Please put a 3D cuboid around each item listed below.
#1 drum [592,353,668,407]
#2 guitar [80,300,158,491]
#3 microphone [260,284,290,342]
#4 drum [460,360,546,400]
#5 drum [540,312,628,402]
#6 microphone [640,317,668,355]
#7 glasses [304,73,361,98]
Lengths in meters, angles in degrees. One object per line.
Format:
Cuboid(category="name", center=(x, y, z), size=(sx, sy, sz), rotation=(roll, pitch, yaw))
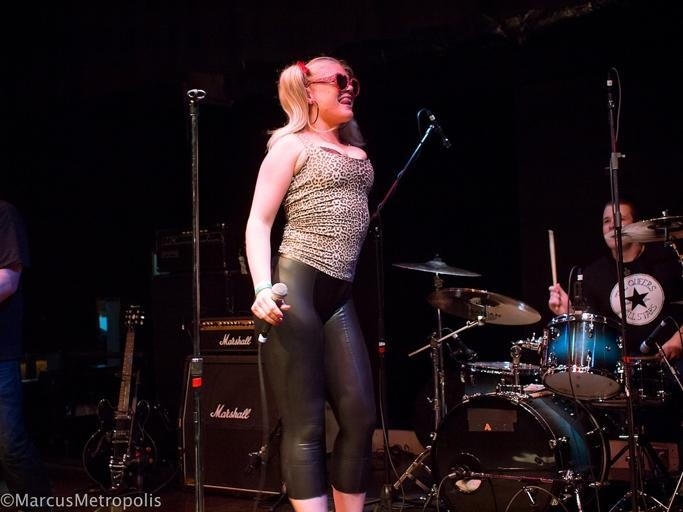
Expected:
Cuboid(category="drum", center=(2.052, 0.894, 4.480), size=(0.610, 0.386, 0.620), rotation=(-3, -7, 0))
Cuboid(category="guitar", center=(-1.732, 1.089, 4.891), size=(0.519, 1.427, 0.524), rotation=(1, -7, -24))
Cuboid(category="microphone", center=(-0.296, 0.250, 2.757), size=(0.118, 0.254, 0.264), rotation=(1, -7, -20))
Cuboid(category="drum", center=(1.139, 0.883, 4.533), size=(0.386, 0.397, 0.387), rotation=(1, -6, -18))
Cuboid(category="drum", center=(1.572, 0.680, 4.148), size=(0.508, 0.409, 0.534), rotation=(6, -24, 2))
Cuboid(category="microphone", center=(2.311, 0.600, 4.631), size=(0.079, 0.079, 0.291), rotation=(-36, -21, -50))
Cuboid(category="glasses", center=(-0.041, -0.833, 3.031), size=(0.147, 0.051, 0.152), rotation=(-3, -3, 23))
